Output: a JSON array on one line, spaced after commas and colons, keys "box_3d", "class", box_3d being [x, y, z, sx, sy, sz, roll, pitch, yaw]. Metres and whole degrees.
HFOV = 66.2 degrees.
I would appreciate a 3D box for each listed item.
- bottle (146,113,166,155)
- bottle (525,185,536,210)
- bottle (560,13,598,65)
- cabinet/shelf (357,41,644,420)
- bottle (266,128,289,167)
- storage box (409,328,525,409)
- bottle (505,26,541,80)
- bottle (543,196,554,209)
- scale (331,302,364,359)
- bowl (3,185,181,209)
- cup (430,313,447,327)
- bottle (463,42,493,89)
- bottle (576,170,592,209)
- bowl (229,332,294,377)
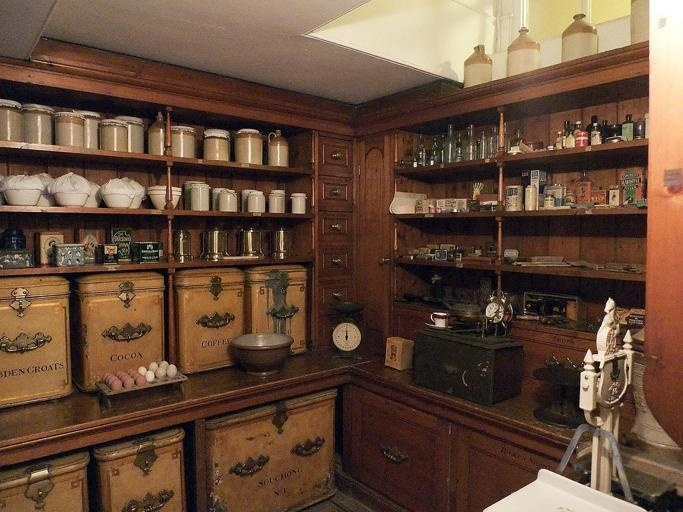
[{"box_3d": [-1.321, -0.865, 3.739, 0.122, 0.324, 0.245, -2, 2, -19], "class": "bottle"}, {"box_3d": [1.275, -0.395, 3.527, 0.084, 0.168, 0.082, -2, 2, 0], "class": "bottle"}, {"box_3d": [1.506, -1.357, 3.309, 0.180, 0.297, 0.182, -1, 4, 0], "class": "bottle"}, {"box_3d": [1.061, -0.072, 4.144, 2.141, 1.955, 0.557, -7, 6, -38], "class": "cabinet/shelf"}, {"box_3d": [-0.517, -0.874, 4.282, 0.174, 0.285, 0.172, 0, 5, 0], "class": "bottle"}, {"box_3d": [0.859, 0.717, 3.530, 0.614, 0.387, 0.488, 3, -1, 39], "class": "storage box"}, {"box_3d": [1.222, -1.361, 3.518, 0.233, 0.324, 0.229, -5, 16, 1], "class": "bottle"}, {"box_3d": [1.378, -0.360, 3.470, 0.063, 0.080, 0.060, -2, 2, 0], "class": "bottle"}, {"box_3d": [0.063, 0.558, 4.179, 0.268, 0.422, 0.276, -2, 7, 30], "class": "scale"}, {"box_3d": [-1.643, -0.405, 3.578, 1.123, 0.119, 0.310, -3, 2, -35], "class": "bowl"}, {"box_3d": [0.691, 0.457, 3.706, 0.105, 0.075, 0.076, 0, 2, 3], "class": "cup"}, {"box_3d": [0.993, -1.364, 3.781, 0.175, 0.284, 0.178, -2, 7, 0], "class": "bottle"}, {"box_3d": [1.597, -0.444, 3.440, 0.138, 0.247, 0.137, -6, 13, 1], "class": "bottle"}, {"box_3d": [-0.584, 0.714, 3.833, 0.454, 0.249, 0.429, -2, 2, 0], "class": "bowl"}]
